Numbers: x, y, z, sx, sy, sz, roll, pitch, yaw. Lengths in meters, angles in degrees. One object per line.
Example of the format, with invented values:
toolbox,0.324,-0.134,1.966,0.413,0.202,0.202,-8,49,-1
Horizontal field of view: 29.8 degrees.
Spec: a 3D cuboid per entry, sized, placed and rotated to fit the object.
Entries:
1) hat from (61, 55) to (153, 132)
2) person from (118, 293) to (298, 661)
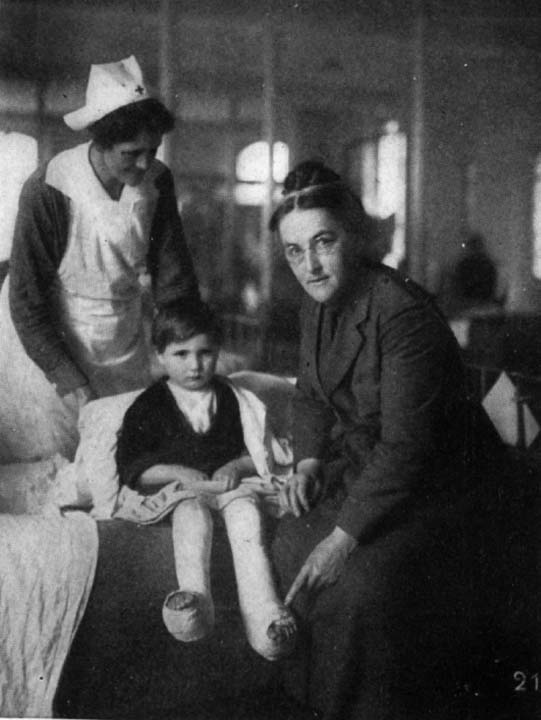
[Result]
hat,-0.326,-0.531,2.089,0.160,0.108,0.118,-21,20,3
person,-0.144,0.250,2.227,0.310,0.756,0.268,-4,-2,-5
